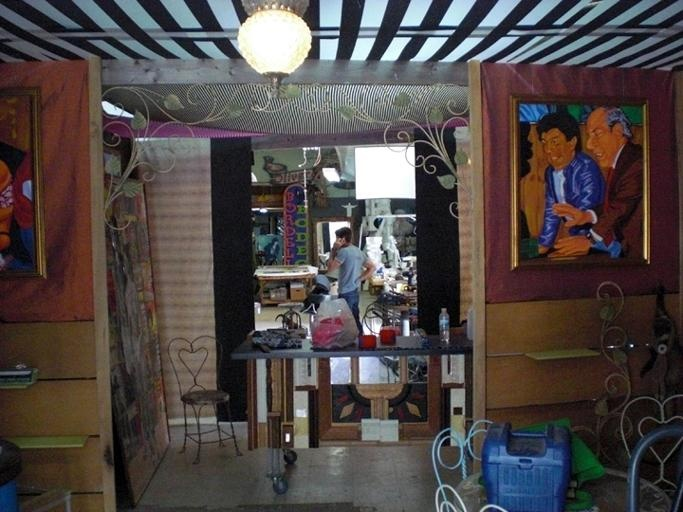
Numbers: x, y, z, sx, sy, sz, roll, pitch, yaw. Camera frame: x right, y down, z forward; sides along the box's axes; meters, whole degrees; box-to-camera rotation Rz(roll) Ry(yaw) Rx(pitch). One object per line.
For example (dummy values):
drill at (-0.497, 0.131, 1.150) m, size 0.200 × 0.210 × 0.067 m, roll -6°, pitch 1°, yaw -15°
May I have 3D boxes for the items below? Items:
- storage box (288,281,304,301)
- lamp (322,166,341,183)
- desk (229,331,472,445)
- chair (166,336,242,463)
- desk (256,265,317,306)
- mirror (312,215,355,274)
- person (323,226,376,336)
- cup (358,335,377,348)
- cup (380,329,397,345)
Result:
storage box at (-0.633, 0.515, 8.766) m, size 0.255 × 0.167 × 0.244 m, roll 0°, pitch 0°, yaw -3°
lamp at (-0.148, -1.121, 8.619) m, size 0.251 × 0.220 × 0.736 m, roll -2°, pitch 8°, yaw -1°
desk at (0.103, 1.030, 4.716) m, size 1.792 × 0.720 × 0.278 m, roll -2°, pitch 8°, yaw -3°
chair at (-1.256, 1.302, 5.656) m, size 0.535 × 1.075 × 0.480 m, roll -4°, pitch 2°, yaw -25°
desk at (-0.816, 0.403, 8.861) m, size 0.972 × 0.421 × 0.818 m, roll -4°, pitch 12°, yaw -19°
mirror at (-0.201, -0.136, 9.461) m, size 0.524 × 0.867 × 0.062 m, roll -3°, pitch 12°, yaw -17°
person at (0.086, 0.186, 6.574) m, size 0.442 × 0.979 × 0.593 m, roll 0°, pitch 8°, yaw 14°
cup at (0.198, 0.648, 4.635) m, size 0.103 × 0.068 × 0.101 m, roll -1°, pitch -1°, yaw 0°
cup at (0.350, 0.621, 4.798) m, size 0.117 × 0.127 × 0.118 m, roll -1°, pitch 6°, yaw 0°
